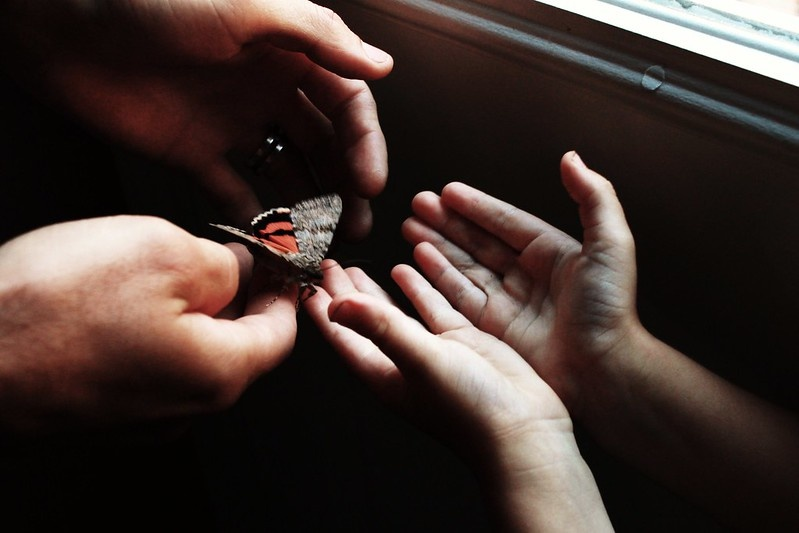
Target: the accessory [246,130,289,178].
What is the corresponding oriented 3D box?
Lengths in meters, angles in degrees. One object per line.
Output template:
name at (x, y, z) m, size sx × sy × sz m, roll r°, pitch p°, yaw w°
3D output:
accessory at (-0.516, -0.450, 2.547) m, size 0.068 × 0.286 × 0.175 m, roll 28°, pitch 88°, yaw -4°
